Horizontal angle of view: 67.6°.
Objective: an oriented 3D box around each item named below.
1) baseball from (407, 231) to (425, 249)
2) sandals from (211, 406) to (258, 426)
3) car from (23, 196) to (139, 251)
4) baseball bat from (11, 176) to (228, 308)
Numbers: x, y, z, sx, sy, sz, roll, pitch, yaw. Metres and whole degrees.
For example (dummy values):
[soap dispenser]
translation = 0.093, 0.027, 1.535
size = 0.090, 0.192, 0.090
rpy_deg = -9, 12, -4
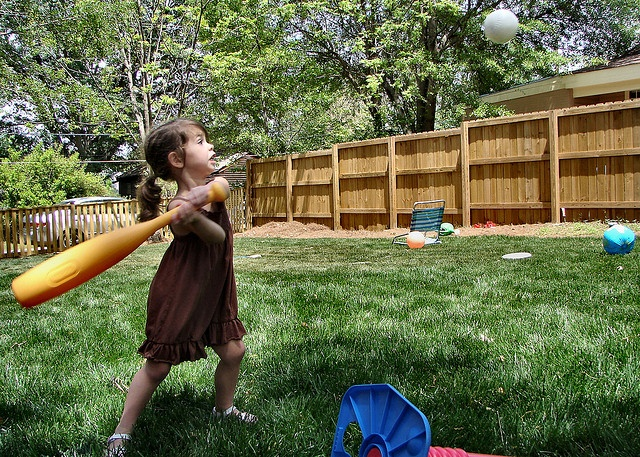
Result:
[baseball]
translation = 1.610, 0.172, 7.829
size = 0.244, 0.312, 0.253
rpy_deg = 21, 23, 30
[sandals]
translation = -0.415, 0.924, 2.360
size = 0.217, 0.099, 0.084
rpy_deg = 0, -3, -9
[car]
translation = -4.778, -0.113, 9.472
size = 1.980, 0.782, 0.906
rpy_deg = -15, 12, -39
[baseball bat]
translation = -0.909, 0.052, 2.261
size = 1.031, 0.175, 0.166
rpy_deg = -30, -38, -15
